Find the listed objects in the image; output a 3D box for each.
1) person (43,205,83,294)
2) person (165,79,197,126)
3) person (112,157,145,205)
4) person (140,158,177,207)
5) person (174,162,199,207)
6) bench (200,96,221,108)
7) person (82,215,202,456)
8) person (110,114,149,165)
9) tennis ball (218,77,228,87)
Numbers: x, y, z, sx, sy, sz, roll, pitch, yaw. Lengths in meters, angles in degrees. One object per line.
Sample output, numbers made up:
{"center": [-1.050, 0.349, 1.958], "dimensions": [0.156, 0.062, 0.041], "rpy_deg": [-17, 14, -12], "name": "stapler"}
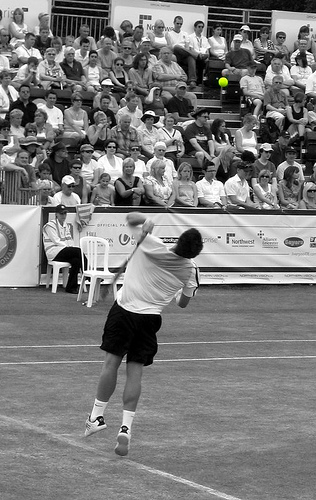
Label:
{"center": [-1.488, -0.016, 12.699], "dimensions": [0.560, 1.337, 0.868], "rpy_deg": [1, 5, -14], "name": "person"}
{"center": [0.564, -3.245, 18.203], "dimensions": [0.722, 1.008, 0.716], "rpy_deg": [-5, 11, -14], "name": "person"}
{"center": [-0.500, -1.151, 13.998], "dimensions": [0.569, 0.792, 0.369], "rpy_deg": [1, 5, -12], "name": "person"}
{"center": [0.032, -1.164, 14.424], "dimensions": [0.485, 0.809, 0.882], "rpy_deg": [6, 6, 32], "name": "person"}
{"center": [0.510, -1.155, 14.635], "dimensions": [0.431, 0.775, 0.471], "rpy_deg": [3, 5, 1], "name": "person"}
{"center": [1.325, -3.731, 20.409], "dimensions": [0.489, 0.257, 0.308], "rpy_deg": [2, -11, -8], "name": "bench"}
{"center": [-0.140, 0.590, 5.687], "dimensions": [0.685, 1.609, 0.630], "rpy_deg": [17, -29, 5], "name": "person"}
{"center": [-0.600, -2.026, 15.883], "dimensions": [0.682, 1.180, 0.696], "rpy_deg": [-8, 31, -20], "name": "person"}
{"center": [1.583, -4.098, 20.106], "dimensions": [0.215, 0.207, 0.244], "rpy_deg": [-17, -9, 18], "name": "tennis ball"}
